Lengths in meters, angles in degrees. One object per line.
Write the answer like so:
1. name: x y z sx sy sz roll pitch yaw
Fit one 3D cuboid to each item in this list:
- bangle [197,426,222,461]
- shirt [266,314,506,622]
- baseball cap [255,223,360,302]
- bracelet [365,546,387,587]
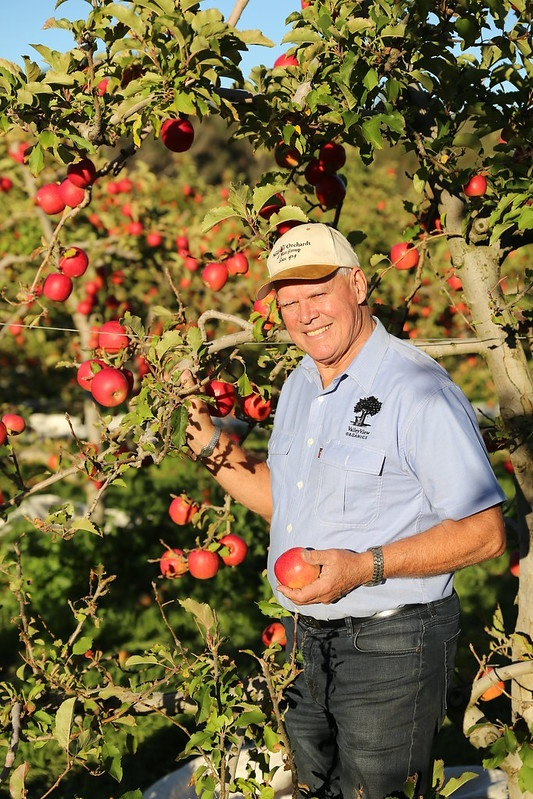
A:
1. bangle: -0.179 0.140 2.792 0.031 0.091 0.095 25 22 12
2. shirt: 0.262 0.200 2.537 0.560 0.841 0.772 -13 0 -12
3. baseball cap: 0.121 -0.432 2.558 0.255 0.146 0.338 -9 11 35
4. bracelet: 0.289 0.435 2.270 0.078 0.093 0.094 -2 -2 -1
